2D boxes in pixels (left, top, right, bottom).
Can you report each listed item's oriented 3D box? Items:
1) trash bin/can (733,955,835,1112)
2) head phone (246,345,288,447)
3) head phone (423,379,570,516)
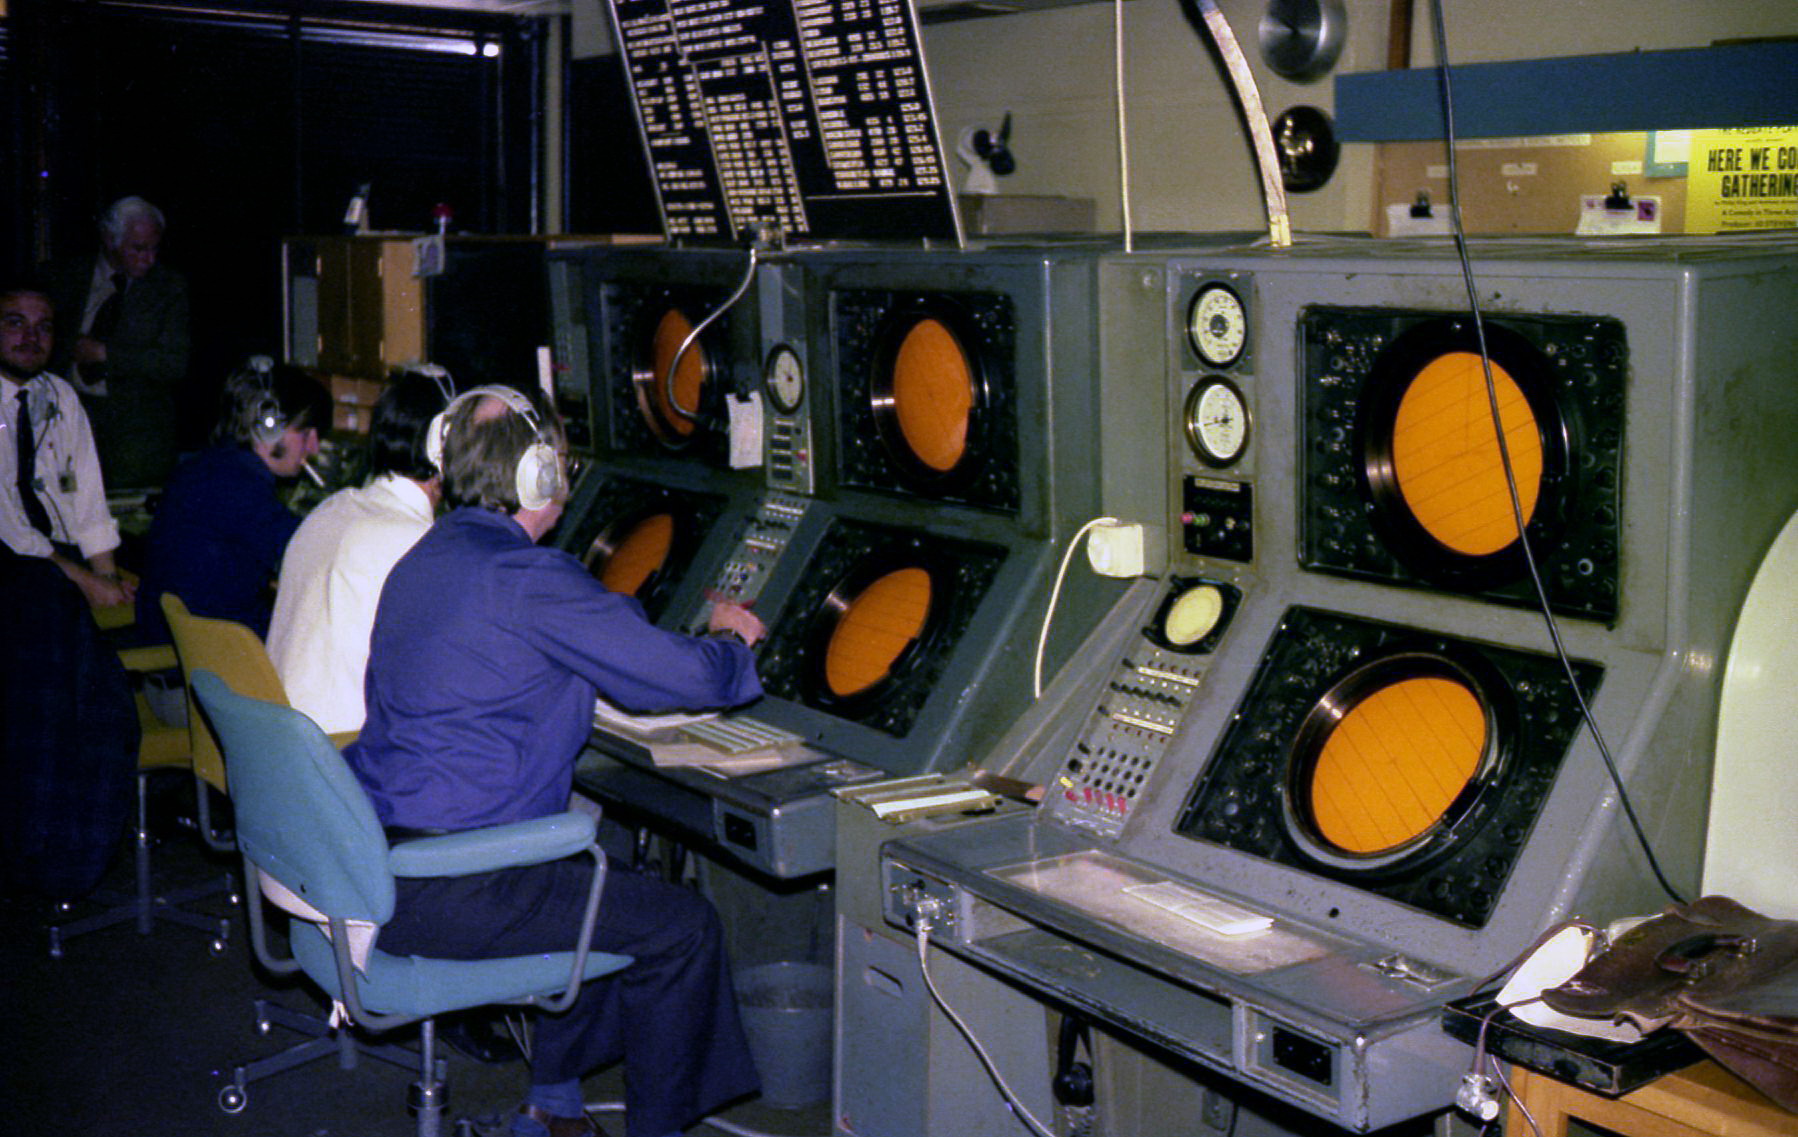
[{"bbox_3d":[-0.336,1.342,4.010,0.314,0.291,0.377,0,1,-6],"label":"trash bin/can"},{"bbox_3d":[-2.028,-0.540,4.432,0.082,0.221,0.159,1,7,0],"label":"head phone"},{"bbox_3d":[-0.992,-0.359,3.419,0.419,0.354,0.175,20,8,28],"label":"head phone"}]
